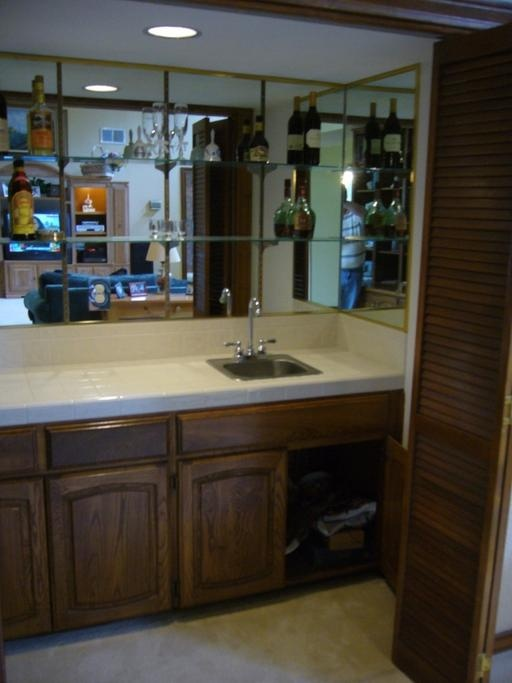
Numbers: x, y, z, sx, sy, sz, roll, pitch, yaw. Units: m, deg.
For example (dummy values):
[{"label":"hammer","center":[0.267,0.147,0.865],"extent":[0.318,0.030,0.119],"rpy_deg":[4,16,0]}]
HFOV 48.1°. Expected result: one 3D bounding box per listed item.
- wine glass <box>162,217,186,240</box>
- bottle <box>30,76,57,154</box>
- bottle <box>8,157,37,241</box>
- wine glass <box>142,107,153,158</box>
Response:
[{"label":"wine glass","center":[-0.357,-0.490,2.465],"extent":[0.082,0.089,0.082],"rpy_deg":[0,7,-3]},{"label":"bottle","center":[-0.822,-0.861,2.182],"extent":[0.082,0.296,0.059],"rpy_deg":[3,7,13]},{"label":"bottle","center":[-0.902,-0.546,2.198],"extent":[0.091,0.306,0.035],"rpy_deg":[-3,8,-26]},{"label":"wine glass","center":[-0.451,-0.866,2.377],"extent":[0.049,0.194,0.021],"rpy_deg":[-2,8,-22]}]
